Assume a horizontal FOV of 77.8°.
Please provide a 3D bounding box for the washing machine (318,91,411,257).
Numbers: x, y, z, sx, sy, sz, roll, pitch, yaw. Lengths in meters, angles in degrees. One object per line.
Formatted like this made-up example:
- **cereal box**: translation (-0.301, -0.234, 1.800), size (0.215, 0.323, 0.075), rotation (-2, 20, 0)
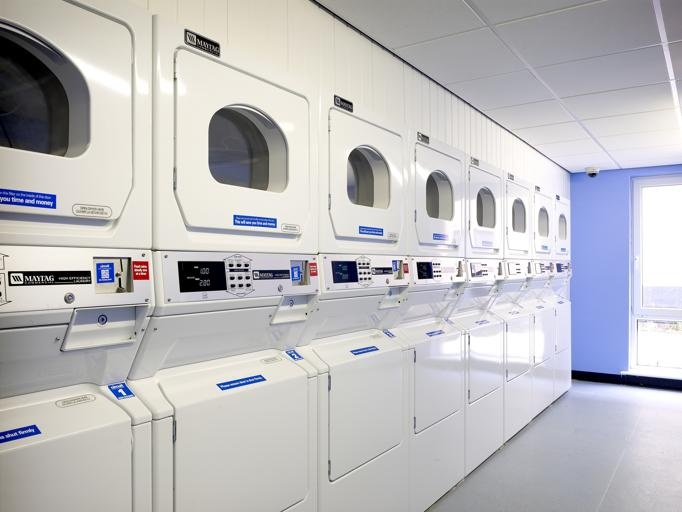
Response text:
- **washing machine**: translation (0.118, -0.488, 2.580), size (0.311, 1.014, 0.962), rotation (-3, -6, 33)
